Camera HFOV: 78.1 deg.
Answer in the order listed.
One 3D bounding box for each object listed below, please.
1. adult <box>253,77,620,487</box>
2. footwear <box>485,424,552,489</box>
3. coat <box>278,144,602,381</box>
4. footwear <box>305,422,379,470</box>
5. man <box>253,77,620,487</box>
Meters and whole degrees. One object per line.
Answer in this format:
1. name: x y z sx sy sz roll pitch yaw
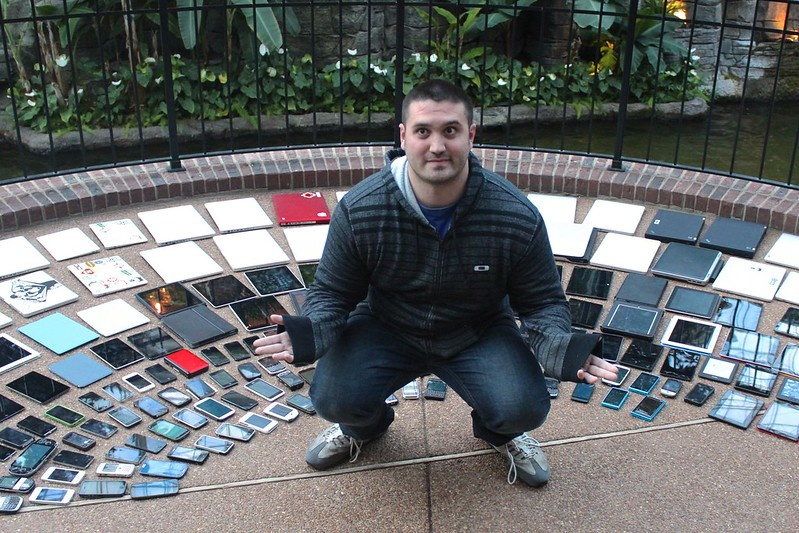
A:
1. adult: 0.157 0.129 2.282 1.558 1.762 1.210 0 15 4
2. footwear: 0.581 0.950 2.493 0.173 0.155 0.319 -21 33 -27
3. coat: 0.179 -0.006 2.311 1.407 0.944 0.954 2 18 7
4. footwear: -0.280 0.916 2.527 0.365 0.158 0.147 -12 57 -23
5. man: 0.138 0.119 2.319 1.587 1.776 1.152 0 16 4
